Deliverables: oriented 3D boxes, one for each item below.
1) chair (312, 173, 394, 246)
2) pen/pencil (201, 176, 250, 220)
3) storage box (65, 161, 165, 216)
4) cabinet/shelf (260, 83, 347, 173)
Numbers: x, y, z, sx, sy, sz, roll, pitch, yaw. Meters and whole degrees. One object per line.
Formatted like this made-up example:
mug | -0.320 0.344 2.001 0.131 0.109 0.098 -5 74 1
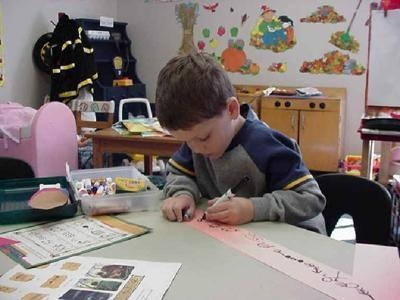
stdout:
chair | 0.597 0.193 1.359 0.264 0.374 0.255 -1 11 30
pen/pencil | 0.087 0.154 1.059 0.024 0.165 0.023 31 23 -38
storage box | -0.271 0.068 1.065 0.212 0.081 0.232 -5 22 -23
cabinet/shelf | 1.103 -0.111 3.846 0.836 0.832 0.666 3 -12 11
